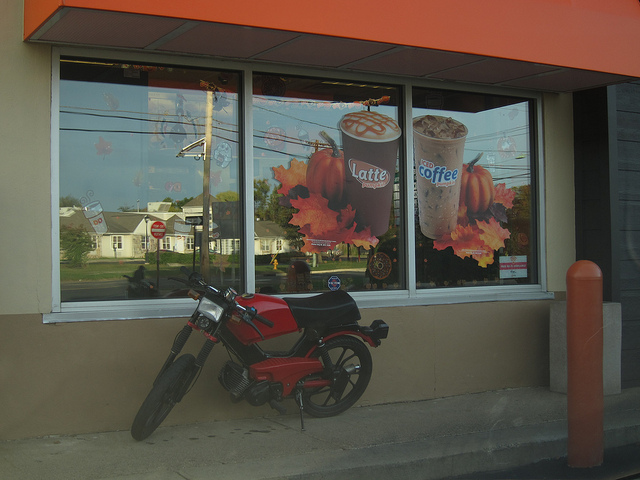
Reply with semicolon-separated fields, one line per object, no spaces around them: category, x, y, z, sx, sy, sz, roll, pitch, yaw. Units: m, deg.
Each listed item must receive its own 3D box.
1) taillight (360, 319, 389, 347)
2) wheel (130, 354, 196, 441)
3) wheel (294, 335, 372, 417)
taillight;0.573;0.958;6.639;0.302;0.298;0.187;2;-1;-7
wheel;-1.513;1.482;6.130;0.131;0.712;0.696;32;-10;8
wheel;0.105;1.372;6.574;0.749;0.805;0.138;7;10;-22
